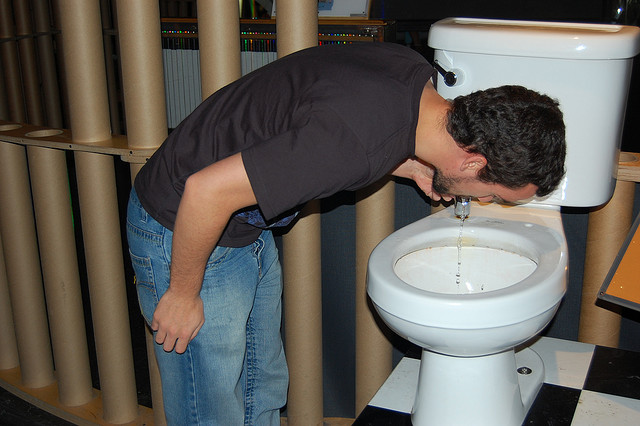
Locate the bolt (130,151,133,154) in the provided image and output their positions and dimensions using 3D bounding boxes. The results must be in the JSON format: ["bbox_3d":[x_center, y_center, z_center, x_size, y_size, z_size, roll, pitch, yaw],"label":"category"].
[{"bbox_3d":[-0.556,-0.180,1.602,0.008,0.008,0.001,4,19,9],"label":"bolt"}]

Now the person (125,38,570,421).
[{"bbox_3d":[0.090,0.055,1.420,0.800,1.032,0.541,13,53,-7],"label":"person"}]
